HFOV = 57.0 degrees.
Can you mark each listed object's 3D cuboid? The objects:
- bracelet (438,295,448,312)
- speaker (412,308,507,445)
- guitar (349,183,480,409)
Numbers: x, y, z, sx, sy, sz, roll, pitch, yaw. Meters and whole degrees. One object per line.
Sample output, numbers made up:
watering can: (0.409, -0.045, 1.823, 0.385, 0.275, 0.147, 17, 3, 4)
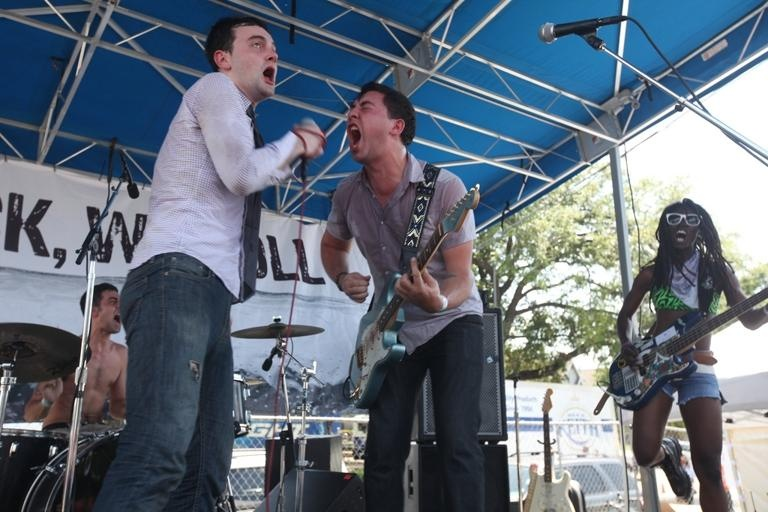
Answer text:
bracelet: (0.429, 0.336, 5.050, 0.032, 0.100, 0.096, 1, -9, -12)
speaker: (0.715, 1.073, 6.456, 0.762, 1.233, 0.922, 5, -7, -8)
guitar: (0.246, 0.284, 5.244, 0.247, 0.727, 1.869, 17, -59, -14)
